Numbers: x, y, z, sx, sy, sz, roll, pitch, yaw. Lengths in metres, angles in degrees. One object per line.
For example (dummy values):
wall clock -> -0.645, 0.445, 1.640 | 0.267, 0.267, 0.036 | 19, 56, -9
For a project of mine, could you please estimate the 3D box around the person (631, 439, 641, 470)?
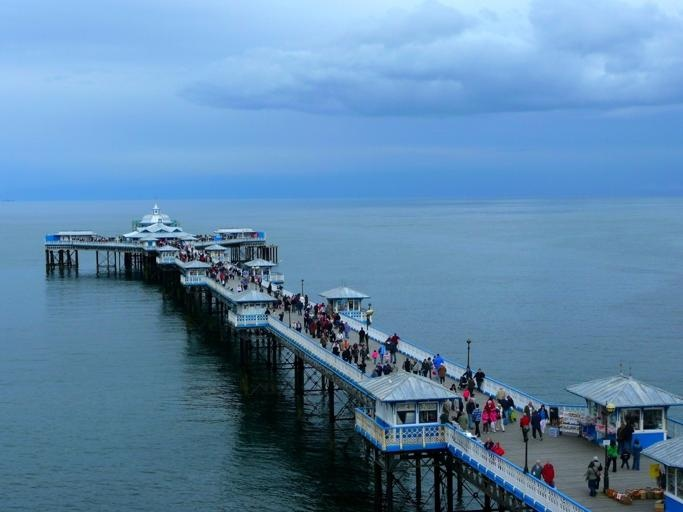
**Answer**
person -> 14.835, 9.867, 58.840 | 0.455, 1.488, 0.927 | 4, 13, 14

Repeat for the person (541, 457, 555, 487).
person -> 10.144, 10.434, 57.168 | 0.691, 1.338, 2.051 | 3, 12, 10

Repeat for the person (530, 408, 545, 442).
person -> 10.413, 8.826, 62.054 | 0.652, 1.394, 0.733 | 3, 12, 10

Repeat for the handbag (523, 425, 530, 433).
handbag -> 9.653, 8.939, 60.922 | 0.358, 0.319, 0.293 | -10, 16, -42

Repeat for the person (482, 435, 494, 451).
person -> 7.554, 9.509, 59.964 | 0.505, 0.656, 0.878 | -1, 49, 2

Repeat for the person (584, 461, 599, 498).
person -> 12.227, 10.603, 56.888 | 0.638, 1.589, 1.009 | 4, 13, 14
